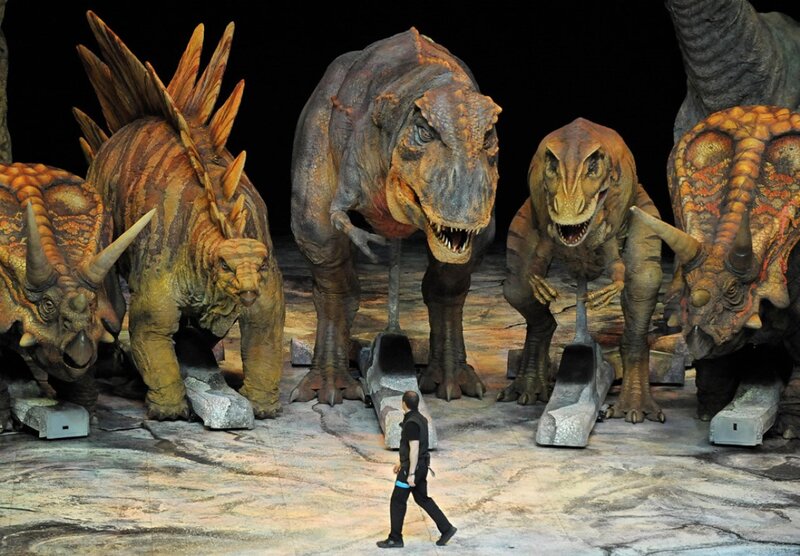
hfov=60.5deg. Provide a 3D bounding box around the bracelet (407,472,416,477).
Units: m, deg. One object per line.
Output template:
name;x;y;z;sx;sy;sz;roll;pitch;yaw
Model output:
bracelet;0.054;0.892;3.136;0.032;0.036;0.020;1;11;-1

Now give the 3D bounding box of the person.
person;0.102;0.910;3.273;0.366;0.708;0.351;2;11;4
